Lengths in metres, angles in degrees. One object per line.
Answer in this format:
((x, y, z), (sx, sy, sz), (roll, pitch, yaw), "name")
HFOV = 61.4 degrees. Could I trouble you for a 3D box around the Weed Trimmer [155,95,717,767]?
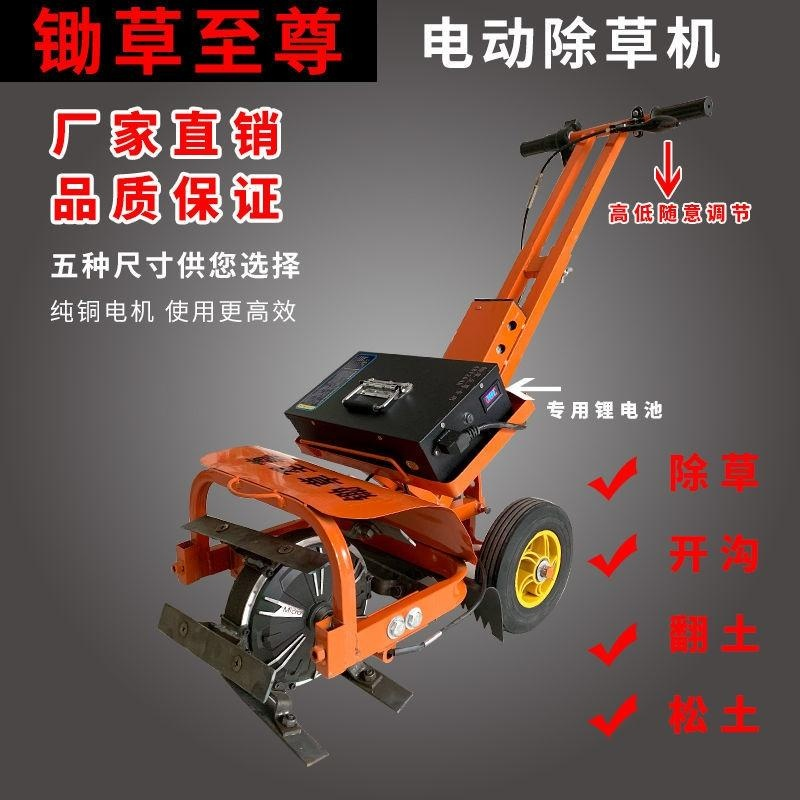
((0.111, -0.130, 2.873), (1.027, 2.535, 1.856), (16, 11, 39), "Weed Trimmer")
